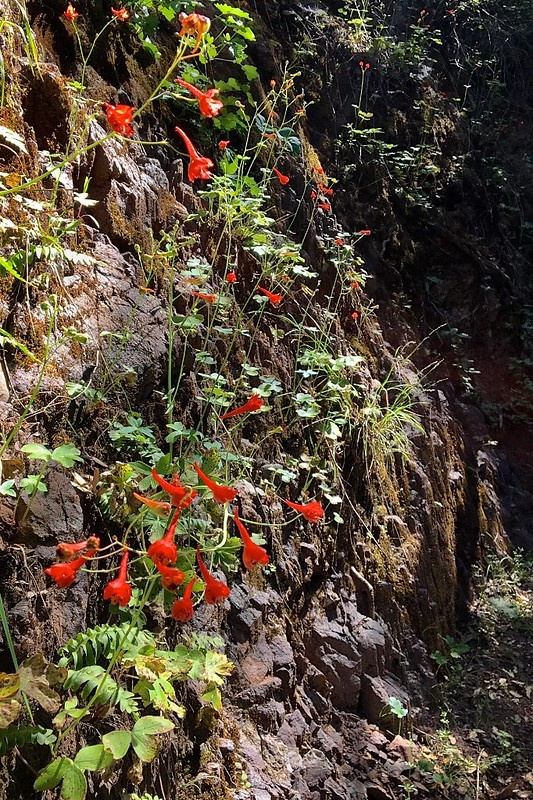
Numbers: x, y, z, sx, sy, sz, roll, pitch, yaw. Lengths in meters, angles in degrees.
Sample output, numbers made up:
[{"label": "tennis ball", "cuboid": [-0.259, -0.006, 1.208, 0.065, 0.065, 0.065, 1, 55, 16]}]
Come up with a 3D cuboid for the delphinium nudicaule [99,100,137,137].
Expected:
[{"label": "delphinium nudicaule", "cuboid": [-0.430, -0.820, 2.273, 0.080, 0.092, 0.229, 17, 11, -16]}]

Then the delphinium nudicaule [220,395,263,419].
[{"label": "delphinium nudicaule", "cuboid": [-0.103, 0.023, 2.949, 0.052, 0.125, 0.056, 65, 18, -1]}]

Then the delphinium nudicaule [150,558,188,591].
[{"label": "delphinium nudicaule", "cuboid": [-0.251, 0.416, 1.890, 0.114, 0.050, 0.053, 29, 9, 41]}]

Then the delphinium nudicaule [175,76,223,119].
[{"label": "delphinium nudicaule", "cuboid": [-0.197, -0.887, 2.287, 0.136, 0.064, 0.238, 18, 10, -7]}]
